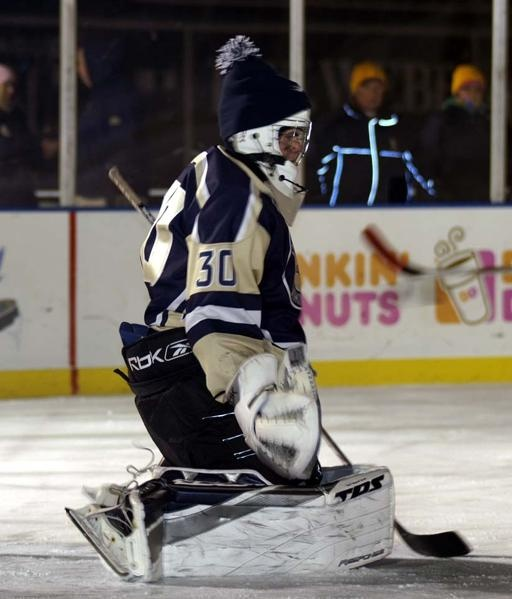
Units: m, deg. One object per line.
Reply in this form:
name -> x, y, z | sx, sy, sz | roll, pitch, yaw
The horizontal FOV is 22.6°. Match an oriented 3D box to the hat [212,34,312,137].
hat -> -0.007, -0.507, 2.984 | 0.263, 0.242, 0.191 | -15, 3, 5

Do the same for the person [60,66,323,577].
person -> -0.137, 0.009, 2.942 | 0.563, 1.201, 0.354 | -2, 4, 2

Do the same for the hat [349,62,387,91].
hat -> 0.542, -1.096, 6.233 | 0.143, 0.147, 0.175 | 5, -9, -5

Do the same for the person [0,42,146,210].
person -> -0.842, -0.841, 6.156 | 0.914, 0.748, 0.207 | -4, -2, -10
